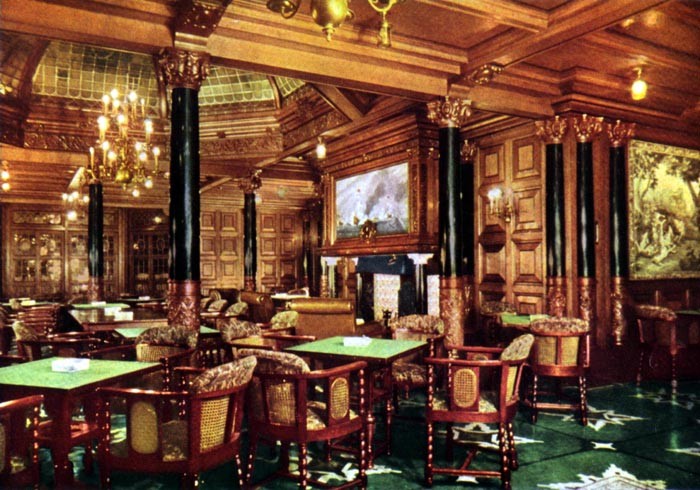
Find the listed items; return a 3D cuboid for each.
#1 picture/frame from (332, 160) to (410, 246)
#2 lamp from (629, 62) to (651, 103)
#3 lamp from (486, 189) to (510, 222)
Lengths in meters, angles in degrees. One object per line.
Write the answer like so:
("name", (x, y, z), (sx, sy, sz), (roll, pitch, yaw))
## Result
("picture/frame", (0.450, -0.815, 11.305), (0.041, 1.021, 1.733), (2, -5, -32))
("lamp", (4.165, -2.345, 8.449), (0.258, 0.481, 1.949), (6, 12, 25))
("lamp", (2.522, -0.694, 10.012), (0.236, 0.561, 0.594), (-4, 12, -25))
